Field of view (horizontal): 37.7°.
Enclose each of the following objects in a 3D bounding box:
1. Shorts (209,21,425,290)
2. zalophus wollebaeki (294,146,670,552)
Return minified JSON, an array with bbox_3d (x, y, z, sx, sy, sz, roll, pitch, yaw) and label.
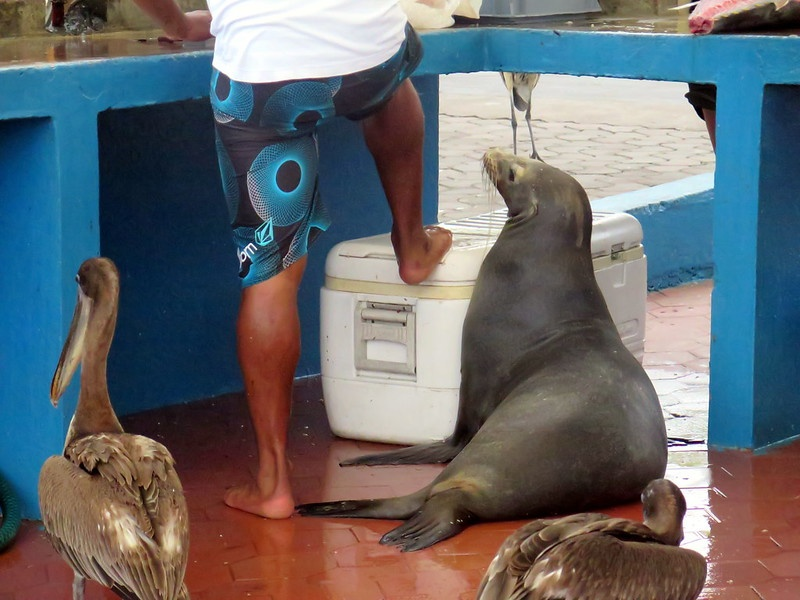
[{"bbox_3d":[-0.379,-0.618,5.044,0.946,1.258,0.722,-14,30,-11],"label":"Shorts"},{"bbox_3d":[0.627,0.099,5.189,1.702,1.370,1.932,-4,4,6],"label":"zalophus wollebaeki"}]
